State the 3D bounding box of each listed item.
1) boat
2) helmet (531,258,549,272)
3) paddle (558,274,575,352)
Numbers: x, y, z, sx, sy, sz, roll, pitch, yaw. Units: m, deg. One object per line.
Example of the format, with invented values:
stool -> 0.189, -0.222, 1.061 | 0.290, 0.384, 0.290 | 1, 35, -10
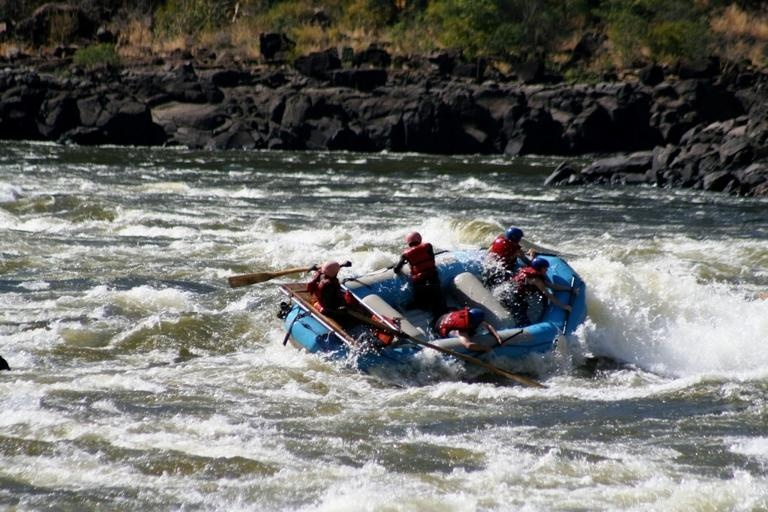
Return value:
boat -> 2.537, 2.159, 58.583 | 12.793, 2.212, 7.371 | -6, 26, -26
helmet -> 5.997, 0.352, 58.354 | 0.620, 0.418, 0.485 | -6, -27, 29
paddle -> 7.037, 2.168, 58.020 | 0.502, 3.090, 0.262 | 15, -23, 2
